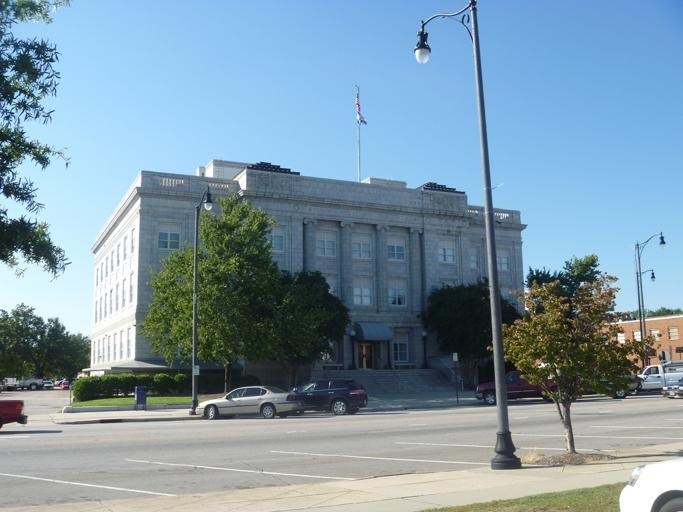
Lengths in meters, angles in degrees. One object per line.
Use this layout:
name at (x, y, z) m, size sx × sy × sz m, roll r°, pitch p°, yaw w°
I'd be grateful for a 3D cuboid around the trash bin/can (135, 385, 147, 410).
trash bin/can at (-11.251, 7.952, 50.224) m, size 0.593 × 1.286 × 0.617 m, roll -1°, pitch -10°, yaw -1°
